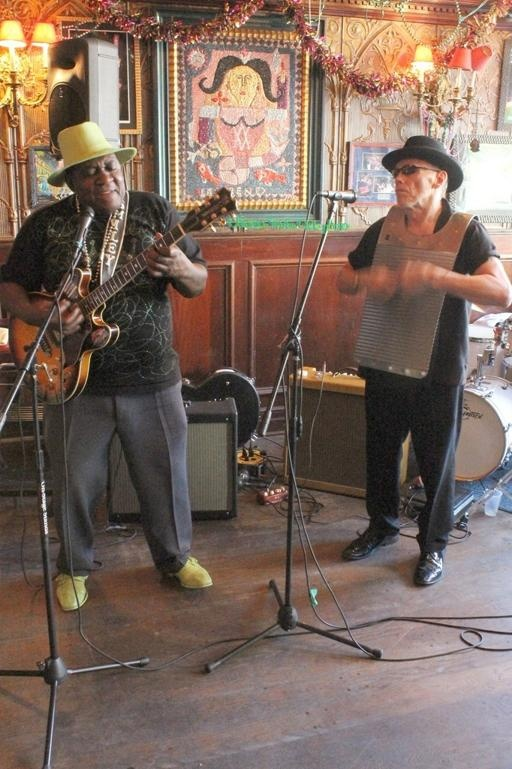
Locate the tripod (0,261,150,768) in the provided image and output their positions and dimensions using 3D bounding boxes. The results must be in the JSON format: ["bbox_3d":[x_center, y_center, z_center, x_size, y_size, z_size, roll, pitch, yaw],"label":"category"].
[{"bbox_3d":[-0.515,0.314,1.855,0.411,1.120,0.806,-5,14,-20],"label":"tripod"}]

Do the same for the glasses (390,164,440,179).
[{"bbox_3d":[0.506,-0.715,2.321,0.112,0.046,0.186,-7,14,-29],"label":"glasses"}]

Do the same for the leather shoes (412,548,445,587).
[{"bbox_3d":[0.637,0.691,2.554,0.066,0.063,0.168,0,3,21],"label":"leather shoes"}]

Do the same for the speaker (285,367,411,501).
[{"bbox_3d":[0.327,0.292,3.504,0.610,0.553,0.333,9,-18,-34],"label":"speaker"}]

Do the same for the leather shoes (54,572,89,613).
[{"bbox_3d":[-0.633,0.713,2.369,0.080,0.078,0.208,2,0,-22],"label":"leather shoes"}]

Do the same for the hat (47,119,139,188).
[{"bbox_3d":[-0.502,-0.720,2.065,0.237,0.118,0.236,4,23,45],"label":"hat"}]

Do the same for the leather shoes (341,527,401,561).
[{"bbox_3d":[0.451,0.642,2.827,0.298,0.118,0.096,-9,14,-29],"label":"leather shoes"}]

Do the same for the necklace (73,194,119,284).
[{"bbox_3d":[-0.468,-0.434,2.065,0.103,0.240,0.028,2,-4,4],"label":"necklace"}]

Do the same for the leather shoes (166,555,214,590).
[{"bbox_3d":[-0.239,0.689,2.503,0.084,0.072,0.182,0,-6,-40],"label":"leather shoes"}]

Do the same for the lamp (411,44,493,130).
[{"bbox_3d":[1.173,-1.824,4.185,0.466,0.477,0.206,-14,31,-32],"label":"lamp"}]
